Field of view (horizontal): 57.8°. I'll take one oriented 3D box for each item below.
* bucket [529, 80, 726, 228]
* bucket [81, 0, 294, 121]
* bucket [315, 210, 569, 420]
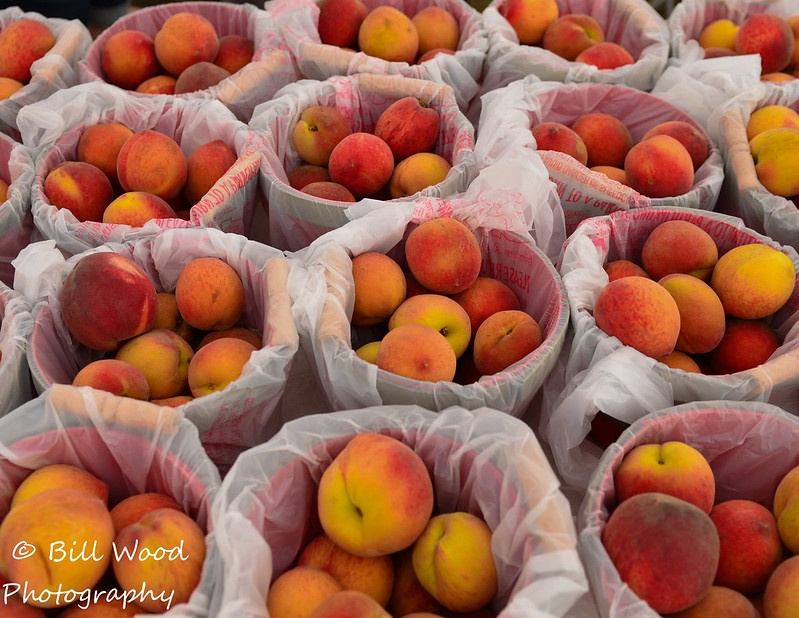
[{"bbox_3d":[0.529,-0.380,1.797,0.352,0.304,0.442,-2,54,-11],"label":"bucket"},{"bbox_3d":[-0.538,-0.739,2.017,0.417,0.229,0.478,3,51,1],"label":"bucket"},{"bbox_3d":[0.060,0.108,1.479,0.388,0.312,0.445,-10,60,-26],"label":"bucket"}]
